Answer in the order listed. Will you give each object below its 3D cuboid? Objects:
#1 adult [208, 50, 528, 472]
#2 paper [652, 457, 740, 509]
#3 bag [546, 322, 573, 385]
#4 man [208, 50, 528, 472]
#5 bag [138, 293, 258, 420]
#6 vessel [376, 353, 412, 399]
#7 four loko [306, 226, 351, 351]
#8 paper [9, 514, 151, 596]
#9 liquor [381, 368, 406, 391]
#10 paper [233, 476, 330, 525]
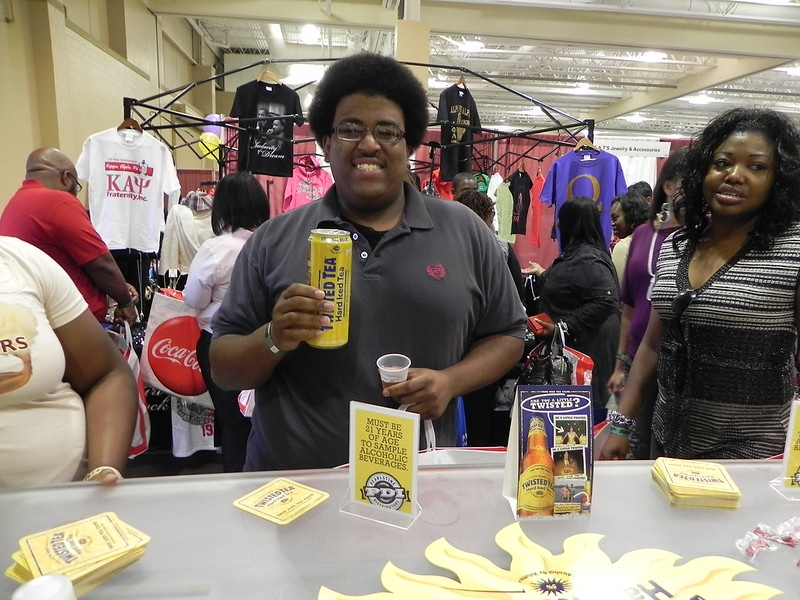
[{"bbox_3d":[-0.091,-0.074,1.627,0.929,1.308,0.477,3,9,12],"label":"adult"},{"bbox_3d":[0.758,0.468,1.390,0.186,0.076,0.133,1,9,-3],"label":"paper"},{"bbox_3d":[0.785,0.273,2.623,0.111,0.263,0.250,4,9,14],"label":"bag"},{"bbox_3d":[-0.091,-0.074,1.627,0.929,1.308,0.477,3,9,12],"label":"man"},{"bbox_3d":[-0.885,0.241,2.378,0.533,0.494,0.192,26,10,-13],"label":"bag"},{"bbox_3d":[-0.027,0.205,1.477,0.097,0.076,0.098,11,23,26],"label":"vessel"},{"bbox_3d":[-0.180,-0.026,1.414,0.108,0.312,0.077,0,9,-11],"label":"four loko"},{"bbox_3d":[-0.673,0.530,1.158,0.140,0.045,0.185,25,25,27],"label":"paper"},{"bbox_3d":[-0.014,0.208,1.422,0.058,0.045,0.055,-2,15,-13],"label":"liquor"},{"bbox_3d":[-0.284,0.490,1.319,0.183,0.045,0.134,5,9,25],"label":"paper"}]
